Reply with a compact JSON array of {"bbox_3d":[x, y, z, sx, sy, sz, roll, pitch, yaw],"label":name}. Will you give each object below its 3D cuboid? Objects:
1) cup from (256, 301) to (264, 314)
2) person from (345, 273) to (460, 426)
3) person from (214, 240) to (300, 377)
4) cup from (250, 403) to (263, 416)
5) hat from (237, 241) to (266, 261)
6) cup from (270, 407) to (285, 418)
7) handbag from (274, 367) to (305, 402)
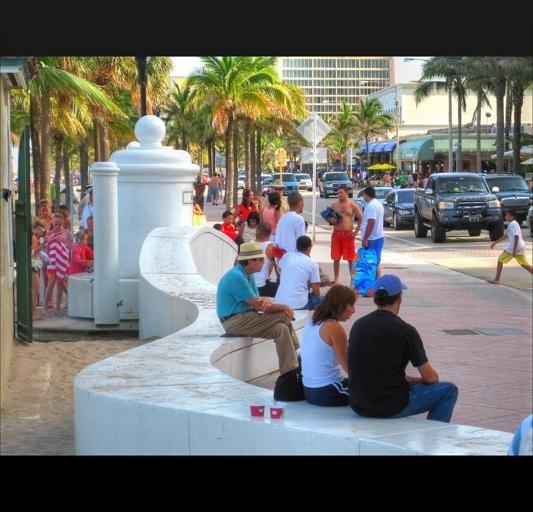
[{"bbox_3d":[-0.064,0.501,10.877,0.067,0.132,0.095,4,5,1],"label":"cup"},{"bbox_3d":[1.219,0.847,10.022,0.816,1.360,0.761,12,21,41],"label":"person"},{"bbox_3d":[-0.017,0.462,10.923,1.045,1.137,0.568,9,7,41],"label":"person"},{"bbox_3d":[-0.081,1.097,8.000,0.070,0.064,0.079,13,14,40],"label":"cup"},{"bbox_3d":[-0.138,-0.044,11.001,0.175,0.118,0.209,1,6,21],"label":"hat"},{"bbox_3d":[0.068,1.117,7.990,0.069,0.059,0.073,0,1,0],"label":"cup"},{"bbox_3d":[0.177,1.044,8.931,0.246,0.284,0.171,-1,2,-12],"label":"handbag"}]
